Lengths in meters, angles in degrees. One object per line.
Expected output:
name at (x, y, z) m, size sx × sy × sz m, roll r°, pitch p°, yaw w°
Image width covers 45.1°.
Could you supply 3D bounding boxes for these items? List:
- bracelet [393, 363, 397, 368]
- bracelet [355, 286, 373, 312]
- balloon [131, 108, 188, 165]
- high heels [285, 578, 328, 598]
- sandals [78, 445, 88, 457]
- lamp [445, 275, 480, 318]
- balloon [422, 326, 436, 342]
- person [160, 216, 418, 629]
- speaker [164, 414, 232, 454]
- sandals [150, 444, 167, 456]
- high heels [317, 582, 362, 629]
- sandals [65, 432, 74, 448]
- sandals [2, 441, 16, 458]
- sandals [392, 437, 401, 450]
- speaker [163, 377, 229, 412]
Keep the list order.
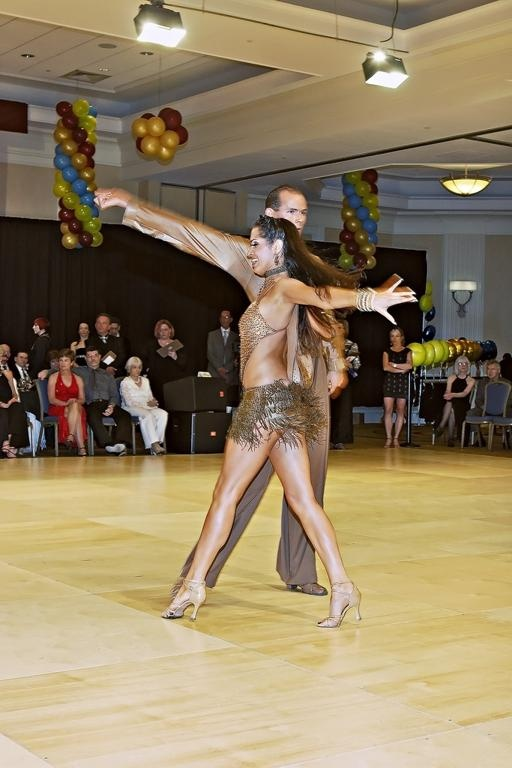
bracelet at (2.674, -0.373, 11.946) m, size 0.073 × 0.075 × 0.030 m, roll -2°, pitch -10°, yaw 1°
bracelet at (0.382, -0.304, 2.186) m, size 0.067 × 0.073 × 0.034 m, roll 0°, pitch -5°, yaw 33°
balloon at (-1.448, -3.727, 9.116) m, size 0.761 × 0.757 × 0.385 m, roll 2°, pitch -7°, yaw 0°
high heels at (0.264, 1.031, 3.167) m, size 0.083 × 0.041 × 0.187 m, roll 3°, pitch 2°, yaw -29°
sandals at (-2.709, 1.031, 9.603) m, size 0.127 × 0.093 × 0.358 m, roll 0°, pitch -12°, yaw -15°
lamp at (6.111, -2.585, 18.420) m, size 0.790 × 1.057 × 0.269 m, roll 0°, pitch -7°, yaw 15°
balloon at (4.712, -1.430, 16.934) m, size 0.301 × 0.433 × 0.569 m, roll 1°, pitch -7°, yaw 8°
person at (0.178, 0.137, 2.579) m, size 1.086 × 1.722 × 0.514 m, roll -4°, pitch -9°, yaw 42°
speaker at (-0.987, 0.724, 10.473) m, size 0.865 × 0.669 × 0.845 m, roll -1°, pitch 3°, yaw -35°
sandals at (-1.591, 1.051, 9.963) m, size 0.123 × 0.112 × 0.334 m, roll -1°, pitch -7°, yaw -23°
high heels at (0.338, 0.900, 2.530) m, size 0.168 × 0.190 × 0.084 m, roll 2°, pitch -7°, yaw -2°
sandals at (-2.920, 0.892, 9.716) m, size 0.098 × 0.267 × 0.109 m, roll 11°, pitch 35°, yaw 20°
sandals at (-3.725, 0.980, 9.261) m, size 0.138 × 0.144 × 0.381 m, roll 3°, pitch -26°, yaw -3°
sandals at (2.676, 1.130, 11.873) m, size 0.143 × 0.152 × 0.414 m, roll -2°, pitch -9°, yaw 2°
speaker at (-1.066, 0.231, 10.370) m, size 0.720 × 0.440 × 0.738 m, roll 2°, pitch -5°, yaw -38°
